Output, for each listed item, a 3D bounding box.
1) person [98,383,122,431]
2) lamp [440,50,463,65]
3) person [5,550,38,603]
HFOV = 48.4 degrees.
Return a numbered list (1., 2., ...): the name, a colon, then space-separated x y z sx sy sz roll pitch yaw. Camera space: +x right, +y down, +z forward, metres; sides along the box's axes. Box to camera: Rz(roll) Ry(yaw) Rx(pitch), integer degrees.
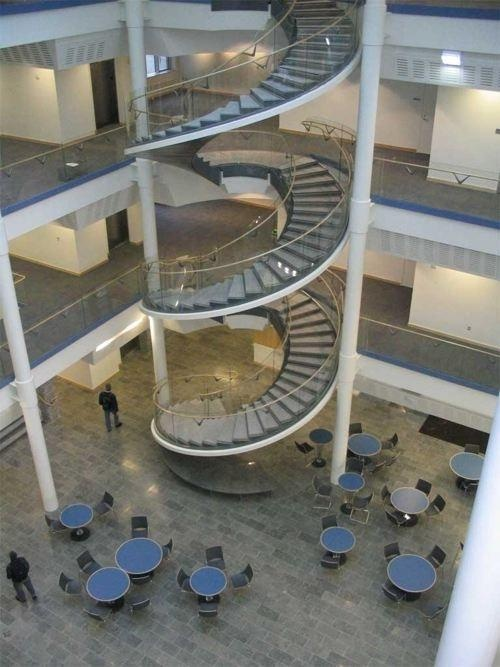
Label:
1. person: -3.694 1.927 14.690 0.527 1.303 0.437 -2 21 -6
2. lamp: 3.361 -4.614 9.364 0.125 0.228 0.358 -21 34 -34
3. person: -4.239 4.318 10.176 0.360 1.296 0.645 -16 32 -28
